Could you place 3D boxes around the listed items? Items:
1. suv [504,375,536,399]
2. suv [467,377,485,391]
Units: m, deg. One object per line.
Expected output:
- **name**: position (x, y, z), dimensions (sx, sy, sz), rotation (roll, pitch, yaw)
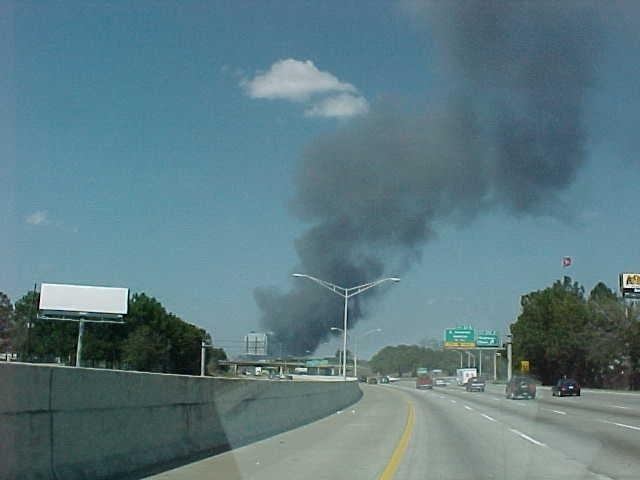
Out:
- **suv**: position (14.304, 10.561, 55.869), dimensions (1.906, 1.680, 1.483), rotation (-7, -17, 21)
- **suv**: position (15.213, 14.216, 76.453), dimensions (1.034, 1.017, 1.936), rotation (1, -3, 7)
